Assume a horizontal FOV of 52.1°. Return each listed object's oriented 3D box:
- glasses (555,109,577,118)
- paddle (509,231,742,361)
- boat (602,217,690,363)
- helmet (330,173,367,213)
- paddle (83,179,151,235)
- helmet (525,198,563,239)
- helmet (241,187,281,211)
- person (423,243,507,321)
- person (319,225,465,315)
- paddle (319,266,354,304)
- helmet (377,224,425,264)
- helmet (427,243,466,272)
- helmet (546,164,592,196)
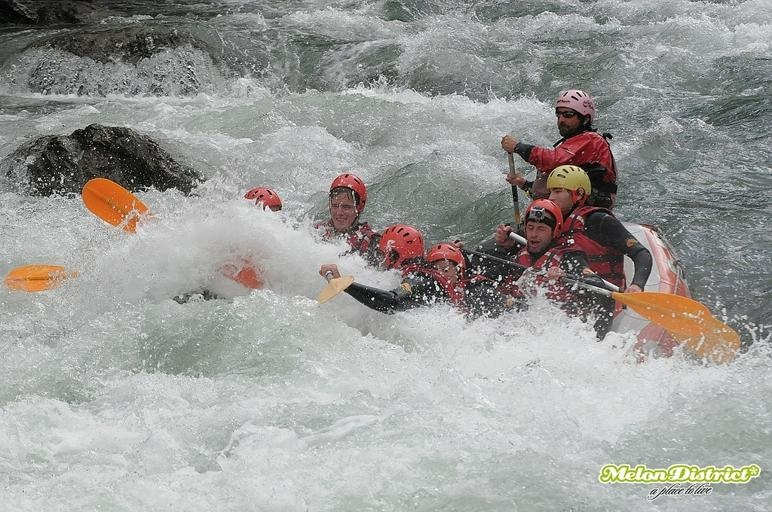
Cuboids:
[{"bbox_3d":[2.334,-1.805,10.023,0.148,0.172,0.045,0,87,46],"label":"glasses"},{"bbox_3d":[2.284,0.277,7.686,0.247,3.649,0.436,17,88,47],"label":"paddle"},{"bbox_3d":[3.070,0.442,9.081,0.891,0.580,1.667,-36,38,30],"label":"boat"},{"bbox_3d":[-0.450,-0.804,9.929,0.454,0.507,0.467,5,29,4],"label":"helmet"},{"bbox_3d":[-3.439,-0.669,9.900,0.243,1.329,0.461,29,81,1],"label":"paddle"},{"bbox_3d":[1.783,-0.422,9.105,0.485,0.587,0.476,8,89,23],"label":"helmet"},{"bbox_3d":[-1.585,-0.760,10.280,0.503,0.316,0.180,27,96,29],"label":"helmet"},{"bbox_3d":[0.885,0.327,8.740,0.410,0.956,0.700,-51,23,11],"label":"person"},{"bbox_3d":[0.044,0.195,8.602,0.924,1.399,0.528,-30,75,46],"label":"person"},{"bbox_3d":[-0.577,0.258,8.391,0.350,0.137,0.603,-15,22,-10],"label":"paddle"},{"bbox_3d":[0.175,-0.105,9.323,0.494,0.599,0.478,15,107,29],"label":"helmet"},{"bbox_3d":[0.707,-0.031,8.809,0.299,0.350,0.347,8,32,35],"label":"helmet"},{"bbox_3d":[2.149,-0.884,9.344,0.476,0.319,0.309,12,89,-14],"label":"helmet"}]
